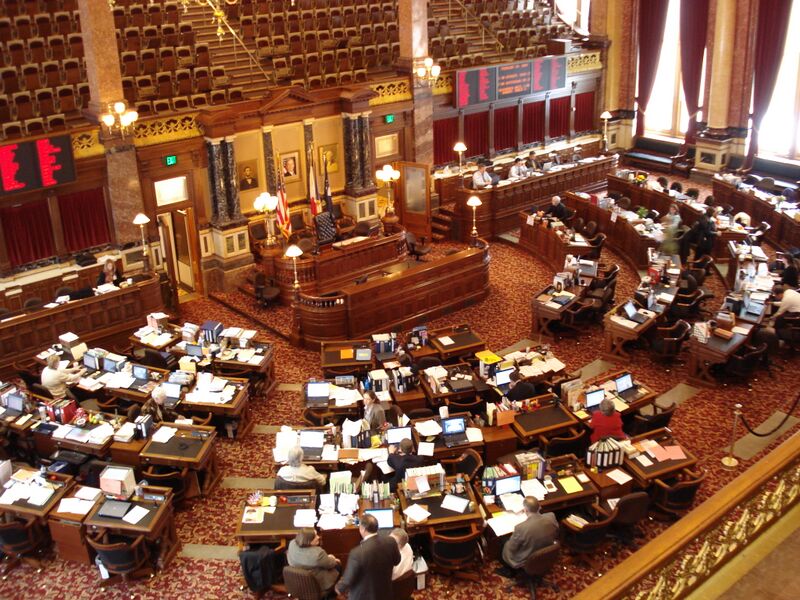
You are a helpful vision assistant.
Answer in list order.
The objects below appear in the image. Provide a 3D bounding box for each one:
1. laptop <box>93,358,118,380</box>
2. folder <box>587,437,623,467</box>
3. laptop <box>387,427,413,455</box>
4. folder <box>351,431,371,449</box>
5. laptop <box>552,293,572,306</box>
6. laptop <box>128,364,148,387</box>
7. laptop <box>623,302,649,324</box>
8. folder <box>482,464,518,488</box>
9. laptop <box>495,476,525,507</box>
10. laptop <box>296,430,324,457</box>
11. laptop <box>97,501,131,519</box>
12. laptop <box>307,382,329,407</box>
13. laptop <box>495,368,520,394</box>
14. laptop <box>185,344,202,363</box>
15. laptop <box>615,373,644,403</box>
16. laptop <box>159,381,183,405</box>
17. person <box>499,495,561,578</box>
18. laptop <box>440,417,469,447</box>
[{"bbox_3d":[-5.756,1.323,12.145,0.572,0.307,0.403,-3,20,1],"label":"laptop"},{"bbox_3d":[3.190,2.362,9.512,0.574,0.394,0.371,-13,36,-13],"label":"folder"},{"bbox_3d":[-0.014,2.234,9.674,0.434,0.318,0.291,1,8,-4],"label":"laptop"},{"bbox_3d":[-0.666,2.227,10.022,0.282,0.310,0.329,-8,24,-20],"label":"folder"},{"bbox_3d":[3.882,-0.047,14.481,0.335,0.088,0.384,18,37,31],"label":"laptop"},{"bbox_3d":[-5.054,1.460,11.741,0.295,0.260,0.156,15,25,16],"label":"laptop"},{"bbox_3d":[5.235,0.279,13.647,0.422,0.274,0.469,24,42,33],"label":"laptop"},{"bbox_3d":[1.488,2.624,9.166,0.337,0.223,0.370,-1,16,-2],"label":"folder"},{"bbox_3d":[1.617,2.829,9.033,0.402,0.350,0.237,2,1,-10],"label":"laptop"},{"bbox_3d":[-1.438,2.333,9.898,0.371,0.211,0.344,4,44,-2],"label":"laptop"},{"bbox_3d":[-4.145,3.036,8.844,0.428,0.046,0.320,1,25,5],"label":"laptop"},{"bbox_3d":[-1.517,1.714,11.189,0.420,0.264,0.459,-3,25,-2],"label":"laptop"},{"bbox_3d":[1.966,1.458,11.294,0.502,0.287,0.367,-16,32,-22],"label":"laptop"},{"bbox_3d":[-4.184,1.080,12.449,0.450,0.289,0.383,4,7,2],"label":"laptop"},{"bbox_3d":[4.163,1.592,11.176,0.592,0.418,0.350,-8,17,-33],"label":"laptop"},{"bbox_3d":[-4.203,1.713,11.250,0.406,0.095,0.409,2,31,-3],"label":"laptop"},{"bbox_3d":[1.840,3.281,8.503,0.768,1.275,0.764,-9,17,1],"label":"person"},{"bbox_3d":[0.880,2.163,9.962,0.395,0.283,0.389,-4,42,-2],"label":"laptop"}]
